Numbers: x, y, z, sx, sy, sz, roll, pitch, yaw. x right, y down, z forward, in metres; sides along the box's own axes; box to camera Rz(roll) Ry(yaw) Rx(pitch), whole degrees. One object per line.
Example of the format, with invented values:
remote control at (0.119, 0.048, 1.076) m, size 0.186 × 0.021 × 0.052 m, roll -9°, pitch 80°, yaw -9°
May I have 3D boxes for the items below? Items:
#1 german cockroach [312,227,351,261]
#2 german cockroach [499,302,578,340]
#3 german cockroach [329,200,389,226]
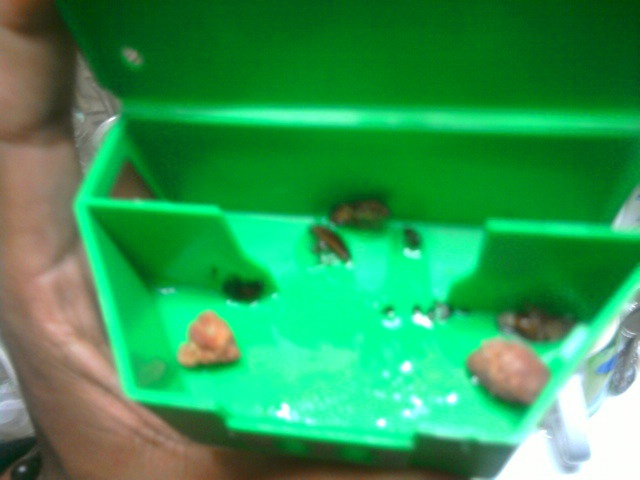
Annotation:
german cockroach at (0.013, 0.004, 0.826) m, size 0.060 × 0.020 × 0.030 m, roll 41°, pitch 74°, yaw 1°
german cockroach at (0.272, 0.104, 0.737) m, size 0.068 × 0.017 × 0.040 m, roll 5°, pitch 61°, yaw 27°
german cockroach at (0.059, -0.035, 0.821) m, size 0.069 × 0.030 × 0.038 m, roll 0°, pitch 76°, yaw 1°
